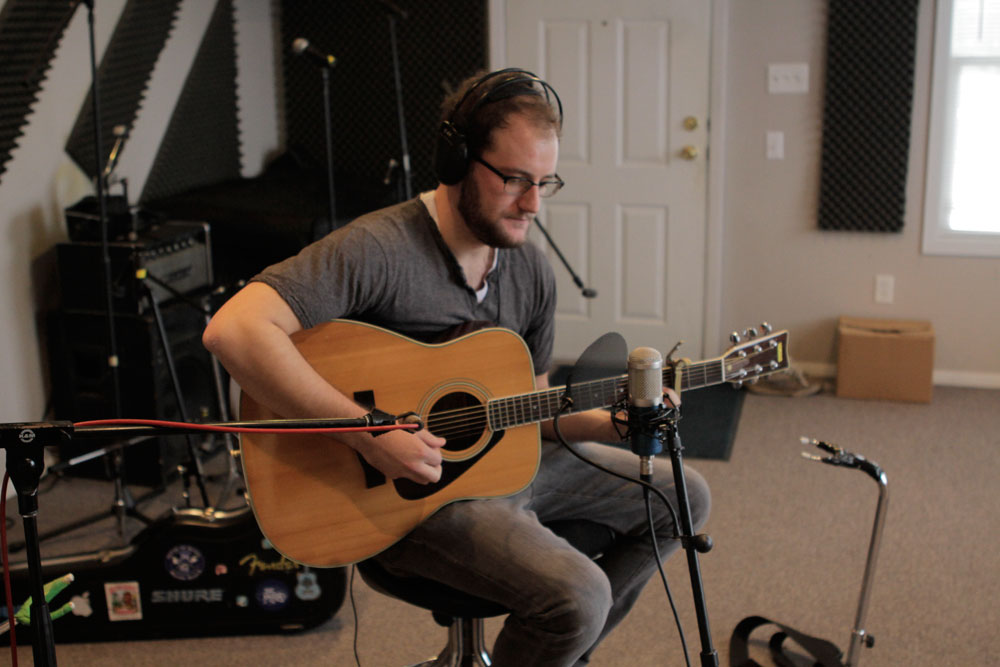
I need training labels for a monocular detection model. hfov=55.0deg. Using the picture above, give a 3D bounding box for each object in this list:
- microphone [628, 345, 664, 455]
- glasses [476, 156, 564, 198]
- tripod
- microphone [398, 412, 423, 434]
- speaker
[{"bbox_3d":[0.419,0.200,2.795,0.100,0.312,0.149,1,2,10],"label":"microphone"},{"bbox_3d":[0.049,-0.485,3.003,0.160,0.053,0.159,27,9,19],"label":"glasses"},{"bbox_3d":[-1.751,-0.322,4.166,0.385,2.396,0.791,-1,2,-26],"label":"tripod"},{"bbox_3d":[-0.256,0.256,2.702,0.067,0.050,0.016,6,39,24],"label":"microphone"},{"bbox_3d":[-1.609,0.260,4.215,0.441,0.793,0.822,-2,-7,10],"label":"speaker"}]
